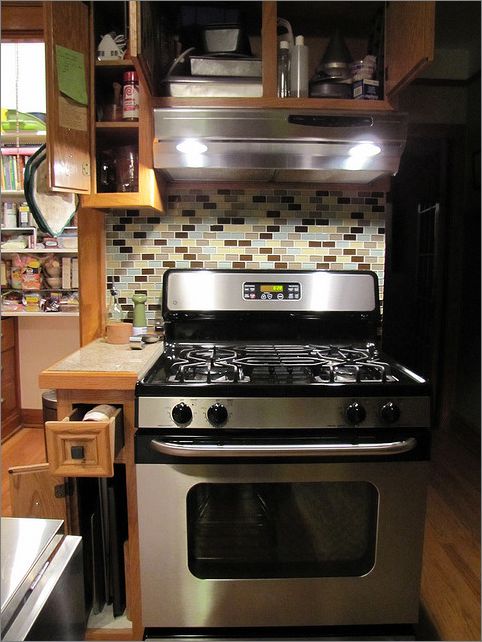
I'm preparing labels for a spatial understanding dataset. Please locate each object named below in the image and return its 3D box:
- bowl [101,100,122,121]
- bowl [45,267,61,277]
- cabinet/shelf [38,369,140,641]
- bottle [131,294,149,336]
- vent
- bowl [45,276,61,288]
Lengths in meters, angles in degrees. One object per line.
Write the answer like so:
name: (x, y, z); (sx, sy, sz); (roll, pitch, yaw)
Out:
bowl: (-0.419, -0.668, 1.744); (0.057, 0.064, 0.067); (1, 6, -2)
bowl: (-1.164, -0.298, 3.347); (0.061, 0.044, 0.062); (-1, 4, 0)
cabinet/shelf: (-0.373, 0.465, 1.546); (0.284, 0.637, 0.307); (2, 9, -2)
bottle: (-0.365, -0.019, 1.929); (0.058, 0.139, 0.134); (3, 10, -11)
vent: (0.110, -0.565, 1.797); (0.773, 0.171, 0.417); (0, 8, -3)
bowl: (-1.177, -0.238, 3.364); (0.072, 0.055, 0.073); (0, 4, 0)
